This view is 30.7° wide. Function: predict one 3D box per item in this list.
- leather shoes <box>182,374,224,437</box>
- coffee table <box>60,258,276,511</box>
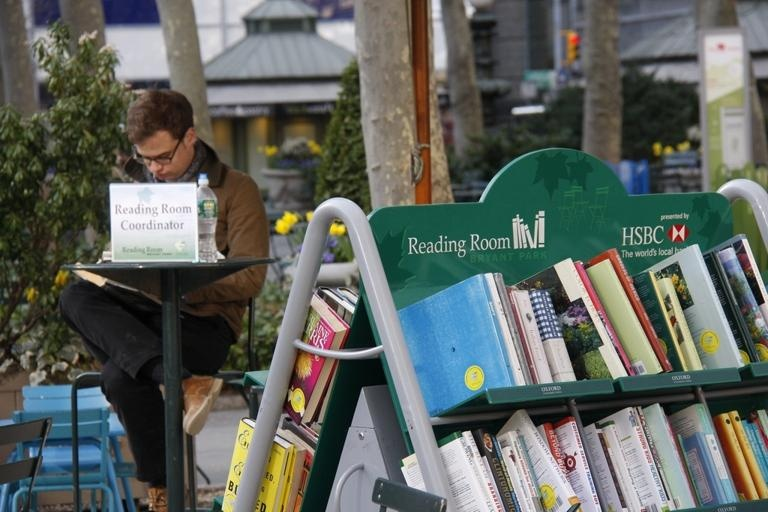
[{"bbox_3d":[-1.245,0.963,9.634,0.200,0.175,0.513,15,47,1],"label":"leather shoes"},{"bbox_3d":[-1.479,0.961,9.916,1.481,1.919,1.566,-4,-6,39],"label":"coffee table"}]
